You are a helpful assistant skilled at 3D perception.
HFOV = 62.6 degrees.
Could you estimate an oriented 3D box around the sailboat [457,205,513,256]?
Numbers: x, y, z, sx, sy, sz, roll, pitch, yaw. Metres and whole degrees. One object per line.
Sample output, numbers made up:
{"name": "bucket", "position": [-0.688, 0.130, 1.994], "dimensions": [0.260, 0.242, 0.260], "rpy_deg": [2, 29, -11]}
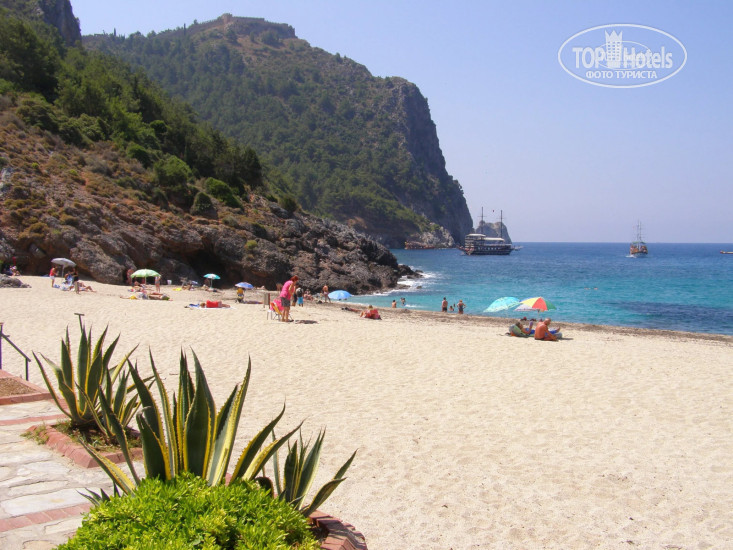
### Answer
{"name": "sailboat", "position": [30.805, -9.376, 145.939], "dimensions": [15.454, 8.924, 4.707], "rpy_deg": [-3, 10, -22]}

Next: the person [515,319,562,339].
{"name": "person", "position": [5.797, 1.880, 20.550], "dimensions": [1.250, 0.458, 0.924], "rpy_deg": [-1, 1, -2]}

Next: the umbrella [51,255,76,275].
{"name": "umbrella", "position": [-15.281, -0.532, 30.349], "dimensions": [1.078, 0.777, 1.161], "rpy_deg": [14, 11, 10]}

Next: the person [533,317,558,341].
{"name": "person", "position": [6.004, 1.824, 20.257], "dimensions": [0.871, 0.750, 0.657], "rpy_deg": [-8, 13, -43]}
